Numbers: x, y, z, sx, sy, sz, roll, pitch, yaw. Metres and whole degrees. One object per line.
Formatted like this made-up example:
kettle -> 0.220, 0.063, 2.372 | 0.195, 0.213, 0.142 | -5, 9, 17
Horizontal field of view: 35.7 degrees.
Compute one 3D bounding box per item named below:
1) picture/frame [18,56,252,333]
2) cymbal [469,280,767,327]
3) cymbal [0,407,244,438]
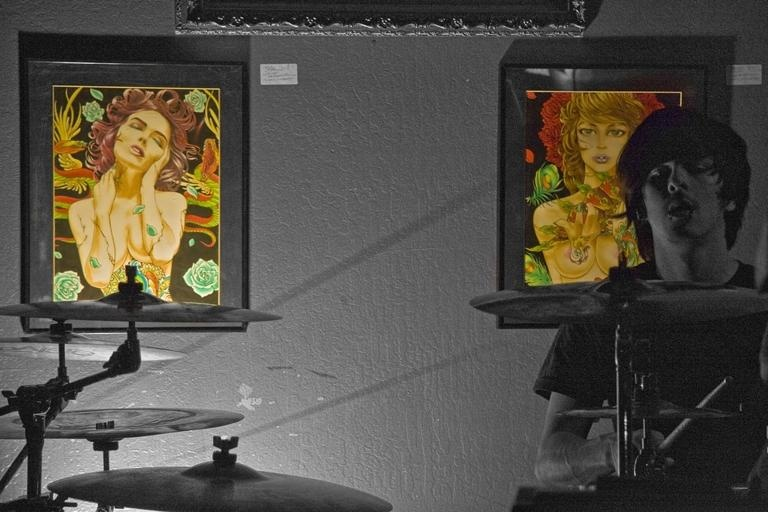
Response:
picture/frame -> -0.979, -0.289, 4.699 | 0.895, 0.956, 0.190 | 2, 3, -10
cymbal -> 0.749, 0.154, 3.880 | 0.945, 0.150, 0.195 | 2, 2, 9
cymbal -> -0.897, 0.576, 4.114 | 0.718, 0.061, 0.405 | 2, 2, 13
